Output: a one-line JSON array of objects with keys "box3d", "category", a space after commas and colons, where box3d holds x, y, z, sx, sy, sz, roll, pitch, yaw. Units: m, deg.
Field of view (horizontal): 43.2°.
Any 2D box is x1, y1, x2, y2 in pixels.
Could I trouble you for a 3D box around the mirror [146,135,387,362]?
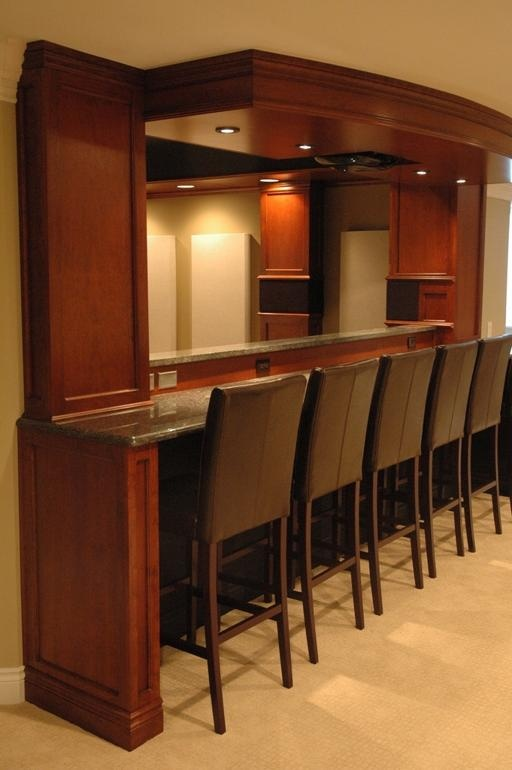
[{"box3d": [-0.141, -1.120, 5.761, 2.439, 1.577, 1.230, 1, 3, 33], "category": "mirror"}]
